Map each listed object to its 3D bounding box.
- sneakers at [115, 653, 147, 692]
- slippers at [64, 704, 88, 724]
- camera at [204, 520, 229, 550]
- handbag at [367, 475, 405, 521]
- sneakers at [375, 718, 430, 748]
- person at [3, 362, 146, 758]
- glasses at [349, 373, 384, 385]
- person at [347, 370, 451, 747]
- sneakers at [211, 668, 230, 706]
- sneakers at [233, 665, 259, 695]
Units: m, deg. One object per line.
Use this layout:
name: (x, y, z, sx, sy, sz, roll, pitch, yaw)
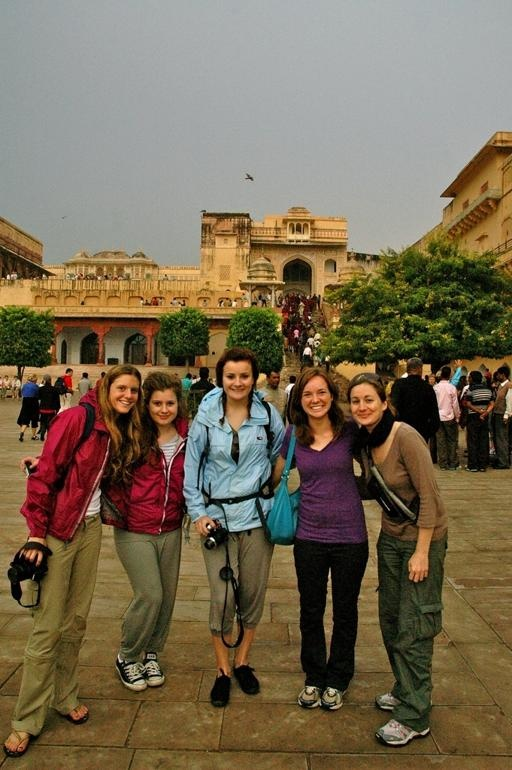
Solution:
sneakers: (-0.513, 1.209, 2.913, 0.063, 0.071, 0.185, 2, -8, -24)
slippers: (-0.670, 1.253, 2.673, 0.070, 0.051, 0.066, -1, 2, -43)
camera: (-0.155, 0.618, 2.917, 0.109, 0.105, 0.042, -31, 28, -20)
handbag: (0.519, 0.458, 2.784, 0.058, 0.174, 0.128, -32, 42, -7)
sneakers: (0.549, 1.263, 2.560, 0.201, 0.086, 0.070, 8, -6, -18)
person: (-0.705, 0.601, 2.725, 0.186, 1.355, 0.700, 1, 2, 27)
glasses: (0.456, -0.023, 2.830, 0.070, 0.026, 0.068, 6, -8, -29)
person: (0.559, 0.625, 2.746, 0.367, 1.335, 0.496, 0, 2, -2)
sneakers: (-0.145, 1.223, 2.849, 0.080, 0.087, 0.187, 0, 2, -1)
sneakers: (-0.042, 1.235, 2.994, 0.102, 0.078, 0.249, 0, 2, -7)
